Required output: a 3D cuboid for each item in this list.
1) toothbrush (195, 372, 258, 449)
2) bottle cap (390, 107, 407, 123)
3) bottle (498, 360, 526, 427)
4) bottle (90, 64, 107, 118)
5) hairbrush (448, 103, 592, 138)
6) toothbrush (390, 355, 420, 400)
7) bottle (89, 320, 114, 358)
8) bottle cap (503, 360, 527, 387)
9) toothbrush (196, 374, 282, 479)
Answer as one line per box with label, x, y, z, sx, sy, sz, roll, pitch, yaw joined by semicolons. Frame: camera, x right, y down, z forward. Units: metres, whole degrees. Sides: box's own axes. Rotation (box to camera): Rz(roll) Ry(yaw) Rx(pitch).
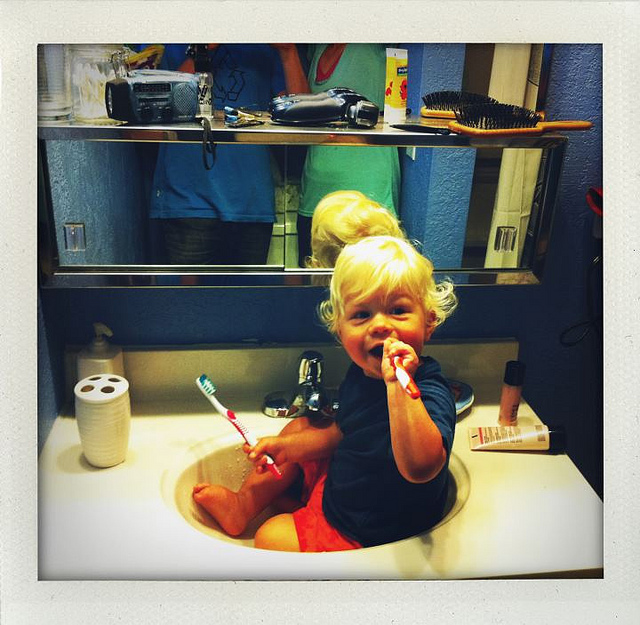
toothbrush;-0.208;0.221;1.512;0.187;0.022;0.027;48;37;15
bottle cap;0.156;-0.393;1.378;0.036;0.033;0.019;-1;3;-8
bottle;0.430;0.177;1.548;0.048;0.144;0.144;3;19;16
bottle;-0.429;-0.426;1.331;0.024;0.098;0.044;-7;20;-15
hairbrush;0.386;-0.367;1.387;0.243;0.049;0.090;-2;8;-9
toothbrush;0.171;0.132;1.379;0.029;0.033;0.119;6;42;-31
bottle;-0.481;0.057;1.499;0.045;0.071;0.040;4;20;18
bottle cap;0.429;0.134;1.515;0.052;0.058;0.052;-1;17;-2
toothbrush;-0.179;0.257;1.493;0.032;0.029;0.272;-33;70;-32
